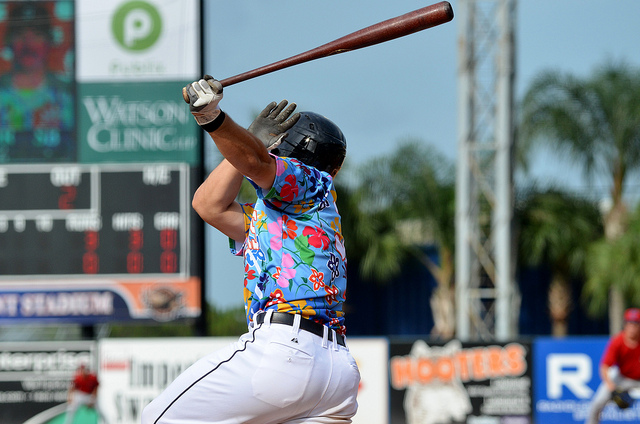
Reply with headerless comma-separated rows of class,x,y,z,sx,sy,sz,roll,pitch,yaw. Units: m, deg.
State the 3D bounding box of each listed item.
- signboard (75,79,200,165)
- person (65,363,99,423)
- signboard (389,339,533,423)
signboard,-2.715,-1.311,21.760,1.726,1.253,0.191,-2,-9,1
person,-3.291,2.508,20.718,0.243,0.760,0.522,24,-29,-35
signboard,1.988,2.417,21.134,2.014,1.179,0.194,-1,-9,-2
